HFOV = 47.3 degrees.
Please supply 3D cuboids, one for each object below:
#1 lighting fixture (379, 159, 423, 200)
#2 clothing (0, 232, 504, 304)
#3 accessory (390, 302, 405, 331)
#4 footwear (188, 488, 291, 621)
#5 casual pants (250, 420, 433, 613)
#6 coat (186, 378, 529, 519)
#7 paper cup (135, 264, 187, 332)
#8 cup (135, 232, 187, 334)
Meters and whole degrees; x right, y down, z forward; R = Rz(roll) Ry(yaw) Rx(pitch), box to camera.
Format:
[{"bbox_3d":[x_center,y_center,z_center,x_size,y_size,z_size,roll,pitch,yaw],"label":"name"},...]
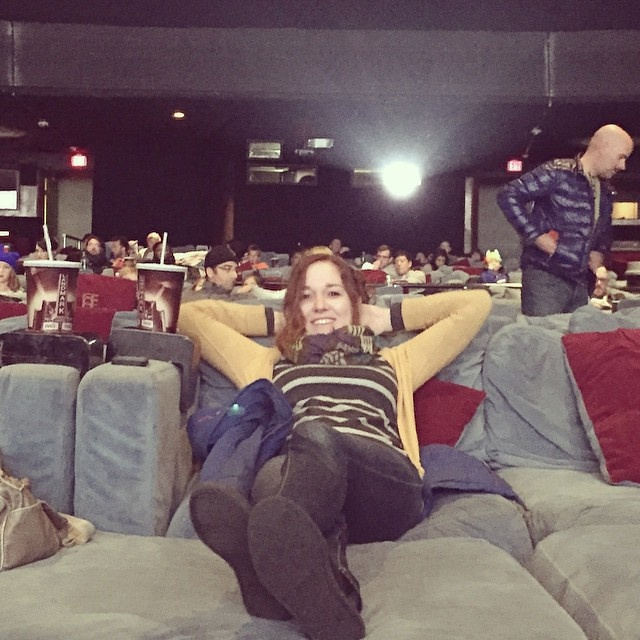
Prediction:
[{"bbox_3d":[1.239,-2.195,11.527,0.486,0.567,0.368,1,-2,1],"label":"lighting fixture"},{"bbox_3d":[-0.573,-0.225,3.679,2.135,0.330,0.504,2,10,2],"label":"clothing"},{"bbox_3d":[0.228,-0.008,2.233,0.026,0.076,0.055,-5,10,3],"label":"accessory"},{"bbox_3d":[-0.168,0.402,1.403,0.102,0.316,0.109,-25,-3,10],"label":"footwear"},{"bbox_3d":[0.069,0.343,1.524,0.156,0.290,0.377,-7,-3,24],"label":"casual pants"},{"bbox_3d":[0.046,0.299,1.751,0.526,0.202,0.438,0,0,-4],"label":"coat"},{"bbox_3d":[-0.420,-0.073,1.961,0.160,0.187,0.167,3,7,0],"label":"paper cup"},{"bbox_3d":[-0.440,-0.108,2.007,0.155,0.299,0.157,1,-10,0],"label":"cup"}]
